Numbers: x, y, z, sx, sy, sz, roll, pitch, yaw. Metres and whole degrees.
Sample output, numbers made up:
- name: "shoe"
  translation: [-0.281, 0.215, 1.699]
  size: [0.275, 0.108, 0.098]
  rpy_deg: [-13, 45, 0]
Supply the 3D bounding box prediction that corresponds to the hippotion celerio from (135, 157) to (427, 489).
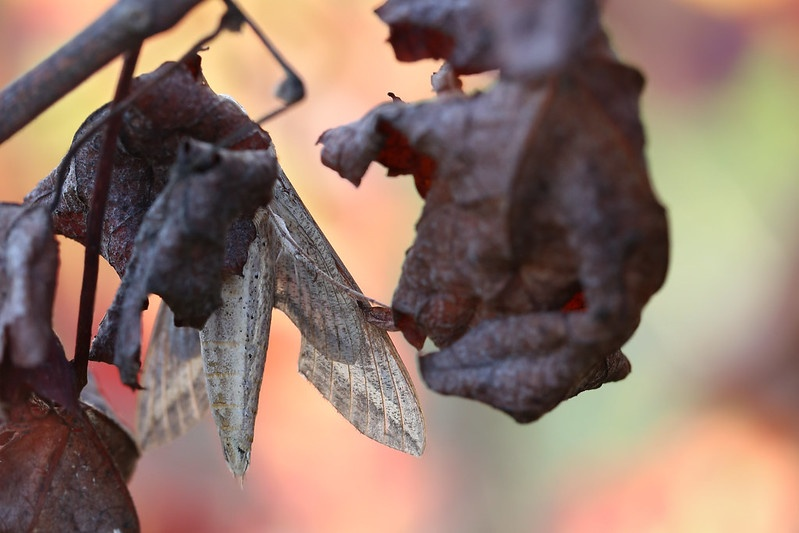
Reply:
- name: "hippotion celerio"
  translation: [-0.202, 0.107, 1.642]
  size: [0.443, 0.396, 0.290]
  rpy_deg: [-2, -21, 31]
